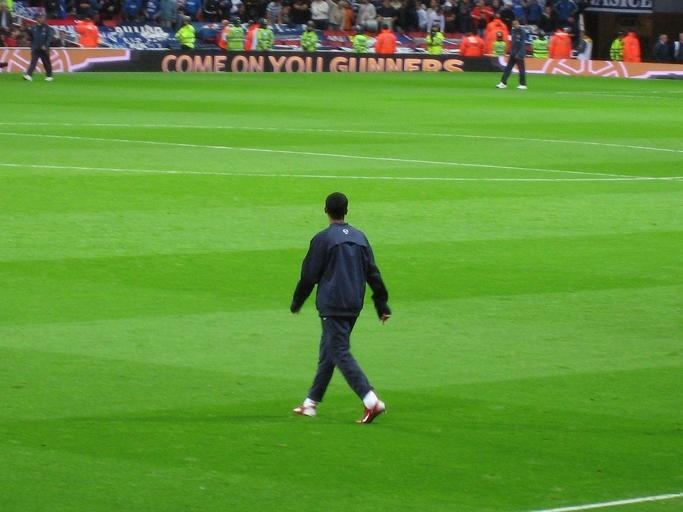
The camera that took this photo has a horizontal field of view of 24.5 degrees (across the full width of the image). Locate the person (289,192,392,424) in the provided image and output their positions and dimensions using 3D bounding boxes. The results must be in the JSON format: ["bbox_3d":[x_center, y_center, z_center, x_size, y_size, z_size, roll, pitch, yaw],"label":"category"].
[{"bbox_3d":[-0.009,0.618,18.026,1.140,2.642,0.529,3,10,-1],"label":"person"}]

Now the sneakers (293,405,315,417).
[{"bbox_3d":[-0.430,1.817,18.340,0.266,0.093,0.110,6,1,14],"label":"sneakers"}]

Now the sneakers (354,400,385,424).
[{"bbox_3d":[0.338,1.828,18.182,0.467,0.187,0.153,-30,11,35],"label":"sneakers"}]

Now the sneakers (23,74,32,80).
[{"bbox_3d":[-8.508,-4.811,42.211,0.324,0.122,0.113,21,28,21],"label":"sneakers"}]

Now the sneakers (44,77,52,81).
[{"bbox_3d":[-7.928,-4.771,42.370,0.133,0.080,0.214,-2,9,-14],"label":"sneakers"}]
